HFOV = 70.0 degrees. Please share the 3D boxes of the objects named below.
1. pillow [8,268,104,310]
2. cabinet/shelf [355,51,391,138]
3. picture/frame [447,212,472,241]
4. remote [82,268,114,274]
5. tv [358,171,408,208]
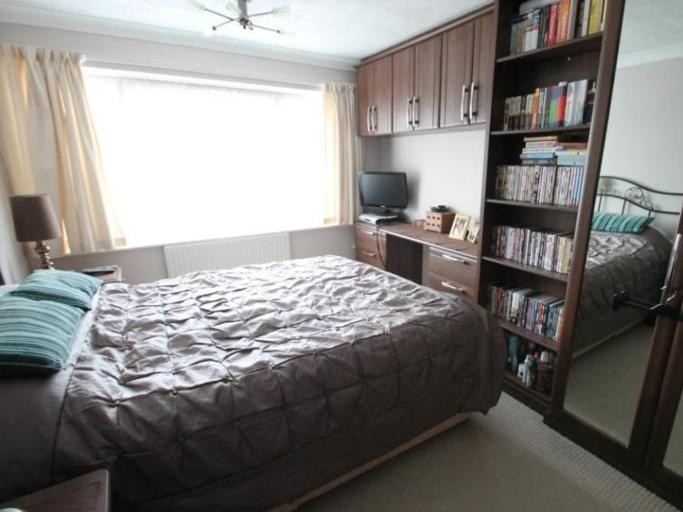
[{"bbox_3d":[-1.735,0.202,3.017,0.332,0.107,0.351,15,13,-17],"label":"pillow"},{"bbox_3d":[0.325,-1.671,4.934,0.266,0.628,0.654,-7,17,-22],"label":"cabinet/shelf"},{"bbox_3d":[1.058,-0.261,4.373,0.033,0.254,0.214,12,11,-34],"label":"picture/frame"},{"bbox_3d":[-1.968,0.126,3.992,0.131,0.046,0.134,-2,9,-11],"label":"remote"},{"bbox_3d":[0.411,-0.703,5.136,0.652,0.373,0.108,10,20,40],"label":"tv"}]
